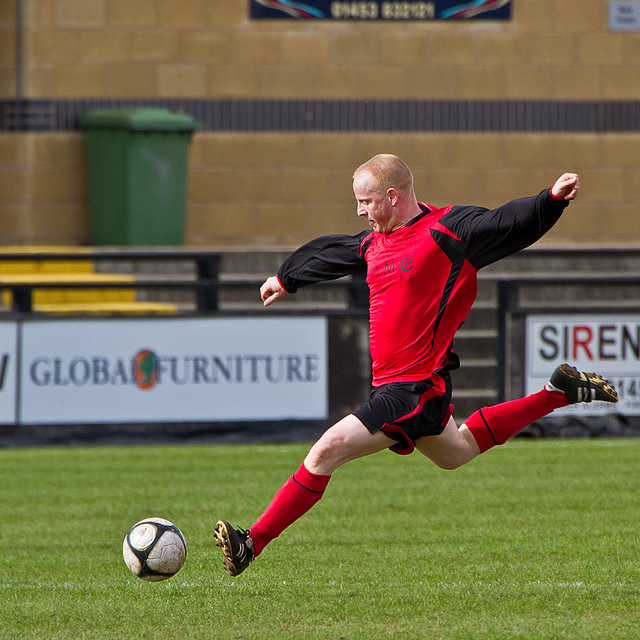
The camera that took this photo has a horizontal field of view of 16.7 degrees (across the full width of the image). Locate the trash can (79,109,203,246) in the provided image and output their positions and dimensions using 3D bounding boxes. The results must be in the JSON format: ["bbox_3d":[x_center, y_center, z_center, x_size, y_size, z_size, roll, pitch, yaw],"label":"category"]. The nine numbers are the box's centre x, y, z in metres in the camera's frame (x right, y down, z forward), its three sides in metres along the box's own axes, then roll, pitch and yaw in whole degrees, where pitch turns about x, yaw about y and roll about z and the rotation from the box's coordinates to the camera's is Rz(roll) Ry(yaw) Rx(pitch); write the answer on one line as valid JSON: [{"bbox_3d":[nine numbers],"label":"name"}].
[{"bbox_3d":[-1.612,-1.237,18.342,1.014,1.674,1.015,0,-1,-32],"label":"trash can"}]

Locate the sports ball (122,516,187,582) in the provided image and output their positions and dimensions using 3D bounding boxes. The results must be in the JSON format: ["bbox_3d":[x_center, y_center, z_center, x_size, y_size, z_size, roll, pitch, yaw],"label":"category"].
[{"bbox_3d":[-1.045,1.506,13.877,0.347,0.380,0.374,-5,-45,-5],"label":"sports ball"}]
